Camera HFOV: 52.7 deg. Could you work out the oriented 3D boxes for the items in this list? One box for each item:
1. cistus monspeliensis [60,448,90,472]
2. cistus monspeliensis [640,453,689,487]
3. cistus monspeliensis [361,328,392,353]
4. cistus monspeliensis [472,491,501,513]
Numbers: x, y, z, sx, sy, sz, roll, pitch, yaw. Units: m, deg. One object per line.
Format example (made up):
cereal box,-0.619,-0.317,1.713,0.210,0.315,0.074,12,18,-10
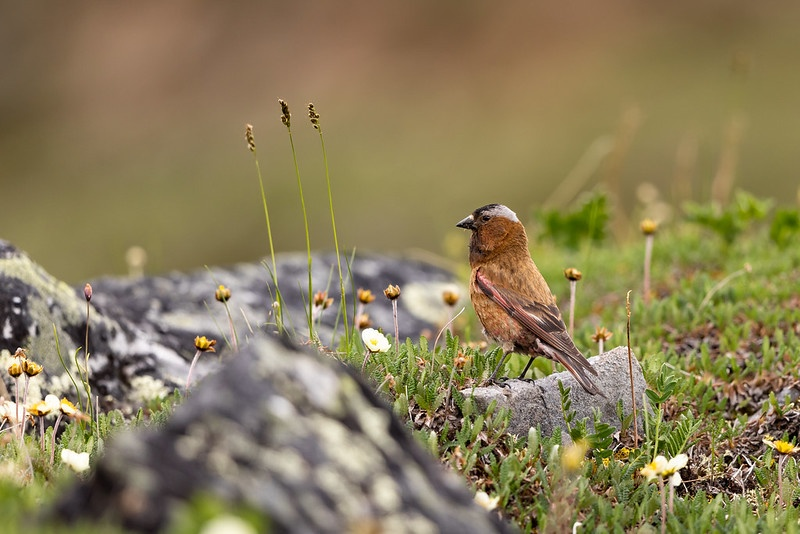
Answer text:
cistus monspeliensis,-1.958,1.164,4.848,0.121,0.166,0.205,-10,7,-34
cistus monspeliensis,1.630,1.250,5.023,0.233,0.145,0.245,-21,-14,-23
cistus monspeliensis,-0.166,0.514,5.535,0.159,0.186,0.273,-6,6,-1
cistus monspeliensis,0.514,1.370,4.806,0.156,0.091,0.163,22,-11,-12
